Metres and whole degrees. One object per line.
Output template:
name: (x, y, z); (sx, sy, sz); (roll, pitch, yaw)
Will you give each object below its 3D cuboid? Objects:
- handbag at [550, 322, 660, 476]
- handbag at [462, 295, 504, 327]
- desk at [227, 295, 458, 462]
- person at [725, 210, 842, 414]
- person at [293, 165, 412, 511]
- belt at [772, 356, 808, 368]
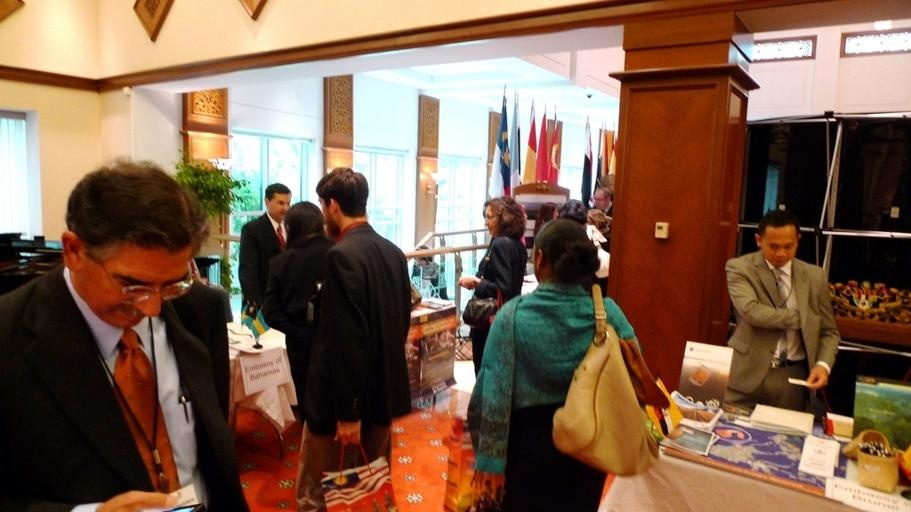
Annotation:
handbag: (0.850, 0.856, 3.491); (0.382, 0.706, 0.696); (17, -19, 17)
handbag: (0.260, 0.508, 5.644); (0.384, 0.364, 0.190); (8, -7, 32)
desk: (-0.616, 1.078, 6.150); (1.570, 0.926, 1.527); (1, 6, 16)
person: (2.391, 0.400, 4.342); (0.773, 1.453, 0.497); (3, 9, 21)
person: (-0.737, 0.625, 4.261); (0.789, 2.489, 0.721); (2, 9, 16)
belt: (2.443, 0.781, 4.344); (0.137, 0.055, 0.116); (-1, 3, -6)
